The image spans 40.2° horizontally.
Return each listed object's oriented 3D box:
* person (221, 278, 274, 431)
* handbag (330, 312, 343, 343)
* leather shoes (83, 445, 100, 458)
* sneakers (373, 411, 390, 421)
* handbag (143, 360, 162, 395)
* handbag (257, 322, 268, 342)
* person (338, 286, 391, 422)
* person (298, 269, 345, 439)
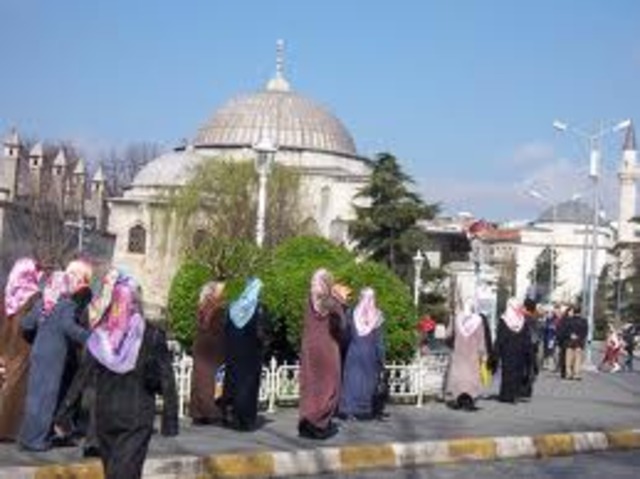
[{"bbox_3d":[-1.002,1.508,11.737,0.633,2.046,0.305,3,-5,-6],"label":"person"},{"bbox_3d":[0.203,1.166,11.716,0.171,0.372,0.138,-3,3,0],"label":"handbag"},{"bbox_3d":[-2.646,2.449,10.115,0.187,0.108,0.136,3,2,-6],"label":"leather shoes"},{"bbox_3d":[0.894,2.617,12.969,0.287,0.134,0.103,-6,3,-24],"label":"sneakers"},{"bbox_3d":[-1.734,1.395,9.023,0.121,0.308,0.295,0,-10,2],"label":"handbag"},{"bbox_3d":[-0.776,1.248,11.881,0.157,0.412,0.288,-3,-6,-3],"label":"handbag"},{"bbox_3d":[0.603,1.573,12.493,0.611,1.780,0.421,3,-5,-2],"label":"person"},{"bbox_3d":[0.023,1.505,11.644,0.572,2.224,0.400,3,-5,-1],"label":"person"}]
